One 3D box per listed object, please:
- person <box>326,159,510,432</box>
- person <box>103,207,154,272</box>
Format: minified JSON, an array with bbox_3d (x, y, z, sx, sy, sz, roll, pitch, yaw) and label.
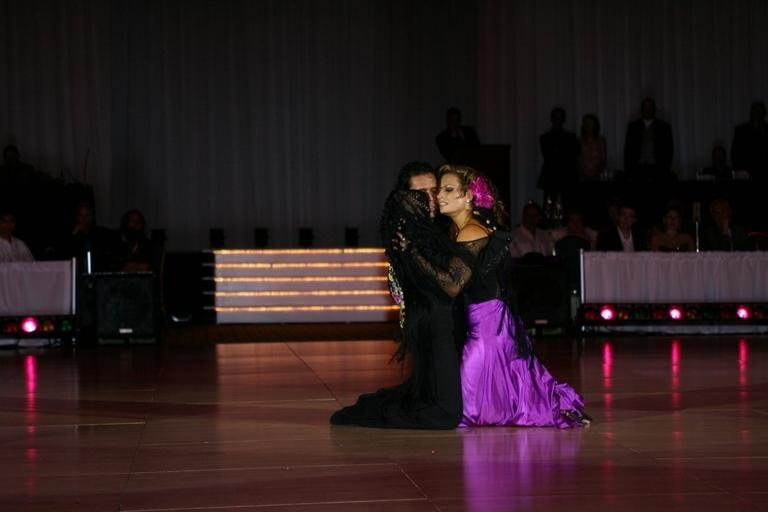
[{"bbox_3d":[0.200,0.252,6.010,0.811,1.771,0.581,0,8,5],"label":"person"},{"bbox_3d":[-3.196,-0.183,11.053,0.682,0.629,1.076,6,42,-18],"label":"person"}]
